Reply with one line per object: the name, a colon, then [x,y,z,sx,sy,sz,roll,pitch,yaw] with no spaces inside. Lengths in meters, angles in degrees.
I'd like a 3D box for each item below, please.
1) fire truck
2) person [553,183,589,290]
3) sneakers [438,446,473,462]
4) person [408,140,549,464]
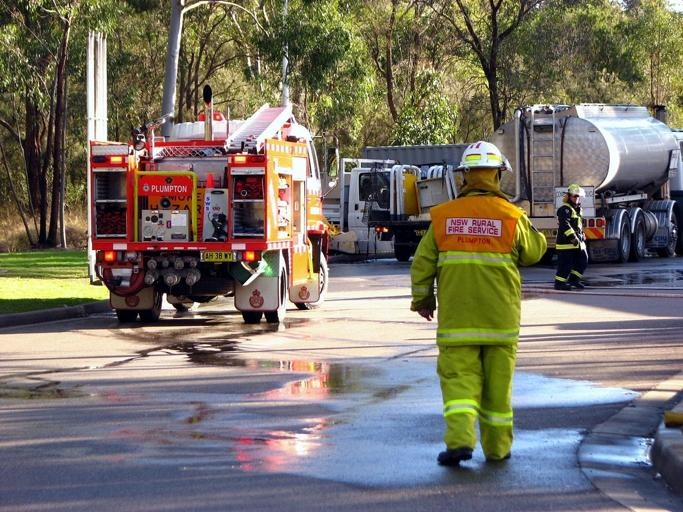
fire truck: [-1.998,-0.803,18.212,3.011,2.869,4.737,0,5,13]
person: [4.360,-0.377,20.679,0.578,1.990,0.873,1,6,13]
sneakers: [0.973,1.701,9.297,0.118,0.148,0.303,0,-1,-28]
person: [1.196,0.378,9.577,1.066,2.762,0.919,-2,6,-9]
